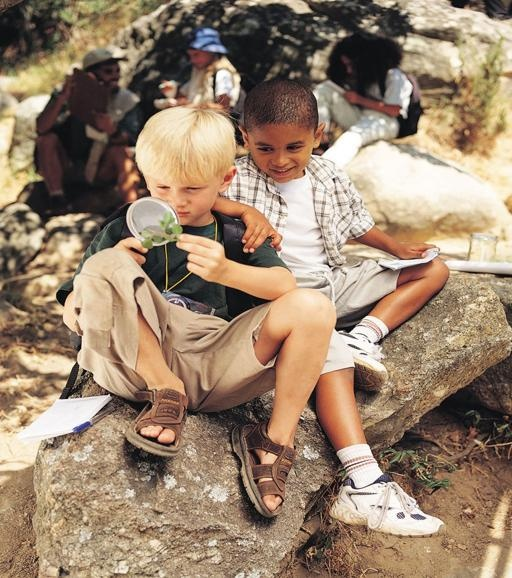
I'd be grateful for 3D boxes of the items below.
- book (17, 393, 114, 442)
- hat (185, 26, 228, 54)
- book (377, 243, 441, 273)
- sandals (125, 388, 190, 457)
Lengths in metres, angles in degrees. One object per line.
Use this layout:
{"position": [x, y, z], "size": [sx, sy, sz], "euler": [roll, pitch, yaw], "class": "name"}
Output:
{"position": [-0.678, 0.467, 2.356], "size": [0.278, 0.057, 0.252], "euler": [0, 14, 24], "class": "book"}
{"position": [-0.455, -2.271, 5.994], "size": [0.376, 0.150, 0.346], "euler": [0, 4, -7], "class": "hat"}
{"position": [0.745, -0.133, 3.128], "size": [0.198, 0.040, 0.172], "euler": [-11, 20, -20], "class": "book"}
{"position": [-0.346, 0.427, 2.316], "size": [0.217, 0.146, 0.385], "euler": [21, 11, -19], "class": "sandals"}
